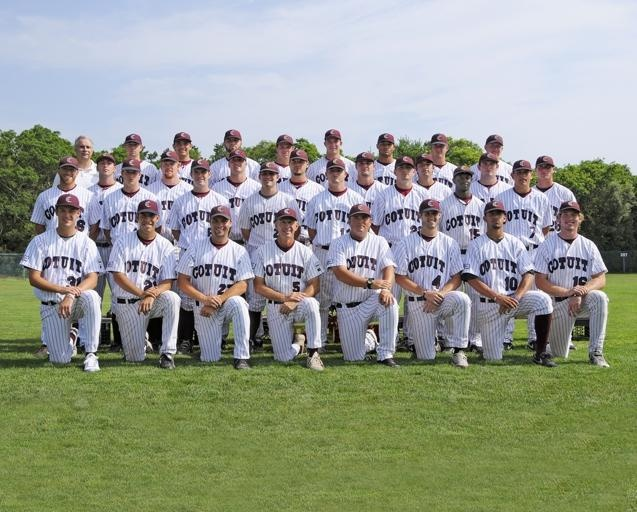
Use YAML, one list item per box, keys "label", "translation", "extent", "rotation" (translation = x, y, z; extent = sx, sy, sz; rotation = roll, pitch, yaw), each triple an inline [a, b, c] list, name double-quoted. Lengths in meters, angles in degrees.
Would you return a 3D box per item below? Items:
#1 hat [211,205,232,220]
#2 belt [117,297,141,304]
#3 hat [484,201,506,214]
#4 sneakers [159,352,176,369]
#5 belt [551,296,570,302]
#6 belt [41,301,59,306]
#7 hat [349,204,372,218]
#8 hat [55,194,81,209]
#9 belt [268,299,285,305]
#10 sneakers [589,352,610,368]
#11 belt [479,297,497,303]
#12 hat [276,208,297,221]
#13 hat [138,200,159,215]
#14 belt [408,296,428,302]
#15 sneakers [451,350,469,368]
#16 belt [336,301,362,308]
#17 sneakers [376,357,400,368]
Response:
- label: "hat"
  translation: [-1.497, -0.656, 17.504]
  extent: [0.301, 0.223, 0.329]
  rotation: [0, -3, -7]
- label: "belt"
  translation: [-2.886, 0.699, 17.316]
  extent: [0.369, 0.079, 0.066]
  rotation: [-2, -3, 27]
- label: "hat"
  translation: [2.767, -0.762, 17.811]
  extent: [0.290, 0.219, 0.363]
  rotation: [0, -3, -16]
- label: "sneakers"
  translation: [-2.231, 1.588, 16.905]
  extent: [0.221, 0.216, 0.284]
  rotation: [0, -3, -7]
- label: "belt"
  translation: [3.757, 0.688, 17.638]
  extent: [0.112, 0.092, 0.111]
  rotation: [-12, -13, 34]
- label: "belt"
  translation: [-4.087, 0.730, 17.250]
  extent: [0.297, 0.069, 0.080]
  rotation: [-2, -3, 33]
- label: "hat"
  translation: [0.658, -0.700, 17.685]
  extent: [0.319, 0.222, 0.306]
  rotation: [-1, -3, -2]
- label: "hat"
  translation: [-3.843, -0.820, 17.454]
  extent: [0.329, 0.229, 0.312]
  rotation: [0, -3, -16]
- label: "belt"
  translation: [-0.648, 0.729, 17.478]
  extent: [0.102, 0.069, 0.362]
  rotation: [1, -3, -35]
- label: "sneakers"
  translation: [4.281, 1.593, 17.232]
  extent: [0.300, 0.209, 0.489]
  rotation: [-1, -3, 12]
- label: "belt"
  translation: [2.642, 0.687, 17.596]
  extent: [0.100, 0.110, 0.304]
  rotation: [1, -3, -32]
- label: "hat"
  translation: [-0.480, -0.641, 17.693]
  extent: [0.328, 0.219, 0.429]
  rotation: [0, -3, -4]
- label: "hat"
  translation: [-2.609, -0.742, 17.525]
  extent: [0.332, 0.241, 0.278]
  rotation: [0, -3, -21]
- label: "belt"
  translation: [1.529, 0.679, 17.653]
  extent: [0.069, 0.089, 0.318]
  rotation: [2, -4, -39]
- label: "sneakers"
  translation: [2.155, 1.561, 17.122]
  extent: [0.243, 0.254, 0.447]
  rotation: [-1, -3, 7]
- label: "belt"
  translation: [0.482, 0.772, 17.652]
  extent: [0.406, 0.115, 0.099]
  rotation: [-2, -3, 31]
- label: "sneakers"
  translation: [1.065, 1.635, 17.217]
  extent: [0.349, 0.126, 0.118]
  rotation: [-6, -9, 38]
